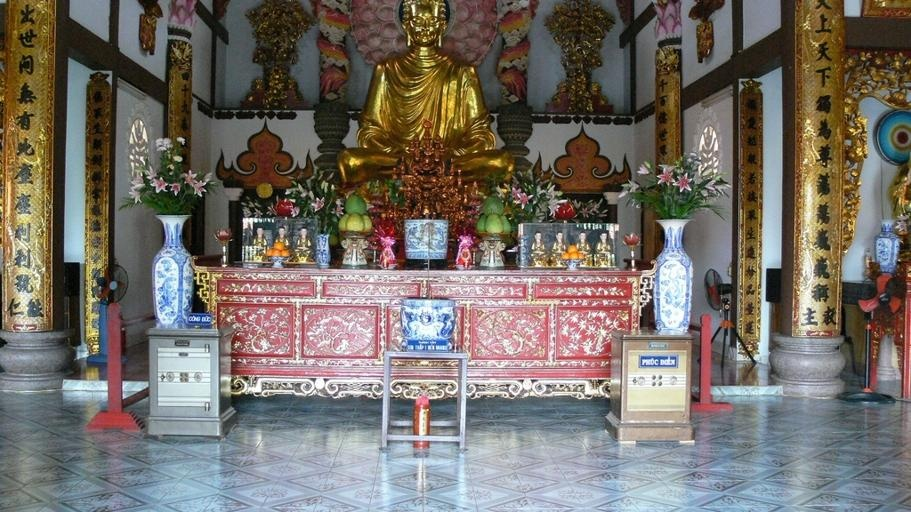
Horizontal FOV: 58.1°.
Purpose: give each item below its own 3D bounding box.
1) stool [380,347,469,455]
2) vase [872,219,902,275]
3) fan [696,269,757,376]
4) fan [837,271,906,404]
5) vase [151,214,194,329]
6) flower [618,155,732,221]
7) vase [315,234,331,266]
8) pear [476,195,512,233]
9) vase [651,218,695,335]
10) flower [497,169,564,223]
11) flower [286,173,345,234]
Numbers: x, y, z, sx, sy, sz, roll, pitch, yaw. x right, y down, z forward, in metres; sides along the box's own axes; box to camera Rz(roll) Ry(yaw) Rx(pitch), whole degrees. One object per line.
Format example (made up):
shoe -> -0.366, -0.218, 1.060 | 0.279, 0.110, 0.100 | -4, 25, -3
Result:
stool -> -0.204, 1.160, 6.763 | 0.821, 0.785, 0.793 | 0, -3, -1
vase -> 4.400, -0.084, 8.359 | 0.236, 0.550, 0.253 | -4, -8, 29
fan -> 2.879, 0.636, 8.604 | 0.483, 1.037, 1.084 | -2, -7, 17
fan -> 3.960, 0.759, 7.754 | 0.557, 1.194, 1.107 | -4, -8, 29
vase -> -2.301, 0.127, 6.703 | 0.308, 0.926, 0.209 | 2, -7, -17
flower -> 1.905, -0.497, 7.085 | 0.853, 0.518, 0.781 | -2, -5, 16
vase -> -1.171, -0.040, 7.240 | 0.121, 0.303, 0.316 | 1, -7, -10
pear -> 0.355, -0.335, 7.398 | 0.294, 0.360, 0.395 | 0, 0, 28
vase -> 1.790, 0.164, 6.780 | 0.298, 0.951, 0.141 | 0, -7, 3
flower -> 0.739, -0.587, 8.266 | 0.670, 0.506, 0.617 | 0, 8, 2
flower -> -1.411, -0.550, 8.352 | 0.681, 0.614, 0.656 | -3, 6, -10
